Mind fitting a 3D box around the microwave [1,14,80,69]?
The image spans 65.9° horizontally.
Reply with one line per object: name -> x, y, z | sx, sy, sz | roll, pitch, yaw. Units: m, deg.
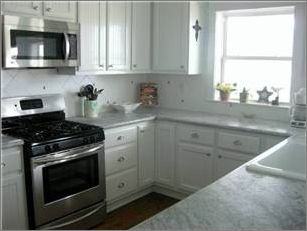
microwave -> -1.153, -0.760, 2.456 | 0.550, 0.526, 0.860 | 6, 8, 34

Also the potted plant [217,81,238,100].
potted plant -> 1.036, -0.360, 3.383 | 0.265, 0.226, 0.260 | -5, 10, -29

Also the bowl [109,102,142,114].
bowl -> -0.403, -0.125, 3.442 | 0.267, 0.092, 0.227 | -9, 12, -37

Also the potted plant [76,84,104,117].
potted plant -> -0.825, -0.212, 3.203 | 0.392, 0.440, 0.416 | -2, 7, -15

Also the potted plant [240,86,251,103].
potted plant -> 1.257, -0.286, 3.275 | 0.194, 0.234, 0.186 | 8, 13, 40

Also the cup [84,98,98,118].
cup -> -0.819, -0.090, 3.083 | 0.234, 0.232, 0.183 | 4, 7, 23
